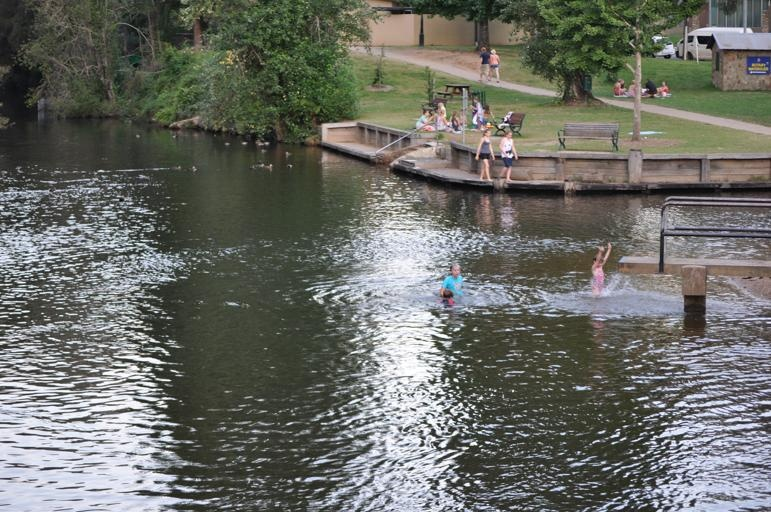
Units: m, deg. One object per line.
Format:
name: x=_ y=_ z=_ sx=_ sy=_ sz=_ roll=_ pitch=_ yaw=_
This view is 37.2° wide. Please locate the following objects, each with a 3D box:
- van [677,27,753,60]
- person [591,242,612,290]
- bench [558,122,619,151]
van: x=25.614 y=-16.865 z=92.095 sx=4.370 sy=1.794 sz=2.205 roll=-2 pitch=6 yaw=9
person: x=6.843 y=0.354 z=36.244 sx=0.450 sy=1.640 sz=0.620 roll=16 pitch=47 yaw=23
bench: x=9.203 y=-5.415 z=51.733 sx=2.669 sy=1.163 sz=3.304 roll=1 pitch=7 yaw=10
